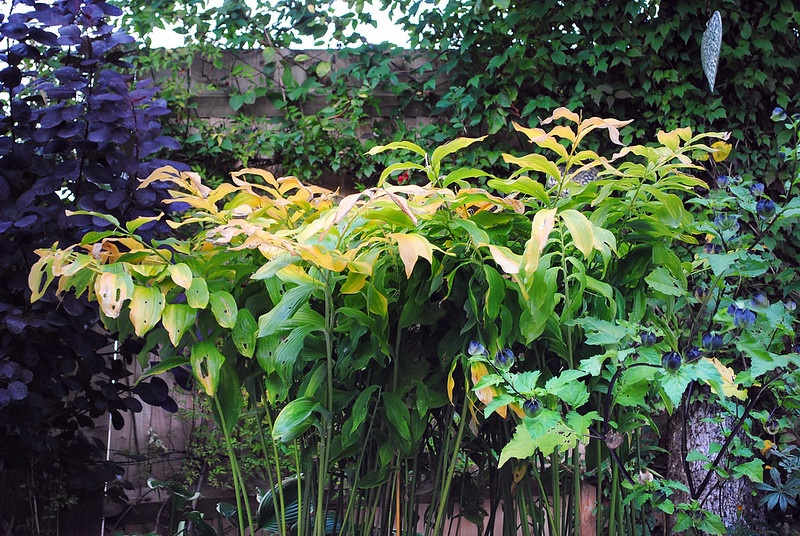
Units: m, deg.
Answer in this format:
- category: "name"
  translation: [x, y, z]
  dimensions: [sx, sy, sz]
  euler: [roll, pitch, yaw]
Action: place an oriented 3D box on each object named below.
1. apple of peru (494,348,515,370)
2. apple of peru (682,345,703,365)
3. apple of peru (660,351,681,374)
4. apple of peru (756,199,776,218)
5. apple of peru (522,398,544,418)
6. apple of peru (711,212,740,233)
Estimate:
- category: "apple of peru"
  translation: [0.324, 0.286, 2.490]
  dimensions: [0.050, 0.066, 0.060]
  euler: [0, 1, 9]
- category: "apple of peru"
  translation: [0.930, 0.275, 2.521]
  dimensions: [0.053, 0.080, 0.087]
  euler: [-5, -27, 20]
- category: "apple of peru"
  translation: [0.836, 0.288, 2.453]
  dimensions: [0.053, 0.060, 0.056]
  euler: [-10, 17, 31]
- category: "apple of peru"
  translation: [1.218, -0.199, 2.649]
  dimensions: [0.054, 0.067, 0.062]
  euler: [10, -43, 10]
- category: "apple of peru"
  translation: [0.411, 0.432, 2.474]
  dimensions: [0.049, 0.059, 0.050]
  euler: [-2, 10, -29]
- category: "apple of peru"
  translation: [1.133, -0.155, 2.745]
  dimensions: [0.066, 0.032, 0.065]
  euler: [5, -5, -30]
